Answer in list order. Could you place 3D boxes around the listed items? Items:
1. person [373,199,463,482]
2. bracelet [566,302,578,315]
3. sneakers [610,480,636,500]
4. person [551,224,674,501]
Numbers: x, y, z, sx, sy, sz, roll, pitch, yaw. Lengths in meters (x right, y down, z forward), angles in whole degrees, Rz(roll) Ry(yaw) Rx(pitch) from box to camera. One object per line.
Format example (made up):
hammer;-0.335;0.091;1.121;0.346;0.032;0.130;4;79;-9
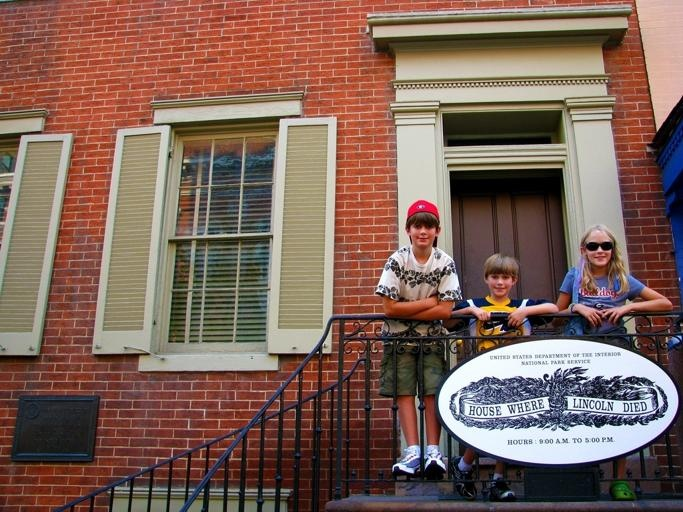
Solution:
person;0.565;0.620;5.422;0.673;2.136;0.549;-8;-18;26
bracelet;1.825;0.428;5.566;0.059;0.092;0.143;7;-13;-25
sneakers;2.021;1.711;5.049;0.121;0.073;0.177;0;-10;9
person;2.138;0.784;5.466;0.798;2.100;0.552;-3;-16;9
